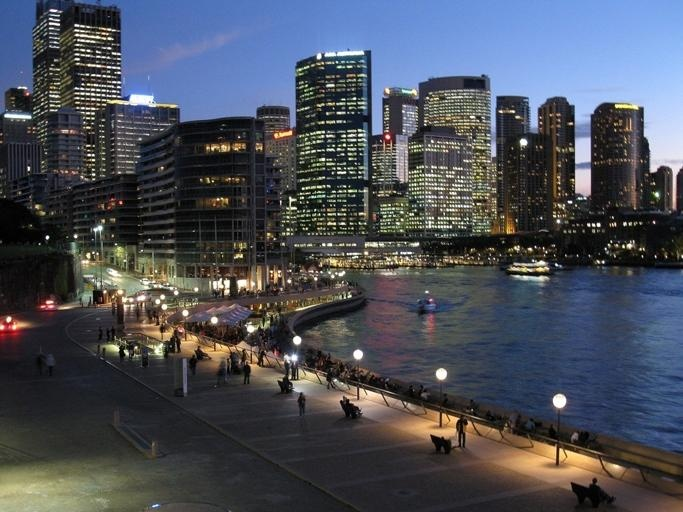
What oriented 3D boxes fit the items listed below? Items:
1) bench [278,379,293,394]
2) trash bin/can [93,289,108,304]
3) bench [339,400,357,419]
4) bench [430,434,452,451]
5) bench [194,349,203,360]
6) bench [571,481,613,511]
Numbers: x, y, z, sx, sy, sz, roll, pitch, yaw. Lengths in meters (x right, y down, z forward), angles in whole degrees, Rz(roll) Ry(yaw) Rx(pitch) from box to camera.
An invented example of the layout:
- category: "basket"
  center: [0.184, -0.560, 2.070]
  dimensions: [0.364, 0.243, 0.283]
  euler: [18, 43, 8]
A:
- category: "bench"
  center: [-4.508, 10.419, 62.336]
  dimensions: [0.585, 0.806, 1.865]
  euler: [2, 5, 19]
- category: "trash bin/can"
  center: [-37.605, 6.367, 120.419]
  dimensions: [1.931, 2.115, 1.546]
  euler: [-1, 2, -30]
- category: "bench"
  center: [0.528, 11.109, 56.553]
  dimensions: [1.481, 1.259, 0.749]
  euler: [1, 2, 35]
- category: "bench"
  center: [6.440, 12.230, 50.518]
  dimensions: [1.343, 1.085, 1.018]
  euler: [0, 2, 7]
- category: "bench"
  center: [-13.720, 9.473, 74.408]
  dimensions: [0.584, 1.116, 2.363]
  euler: [0, 2, -5]
- category: "bench"
  center: [14.306, 13.695, 44.358]
  dimensions: [1.998, 1.082, 1.376]
  euler: [-3, 6, -41]
